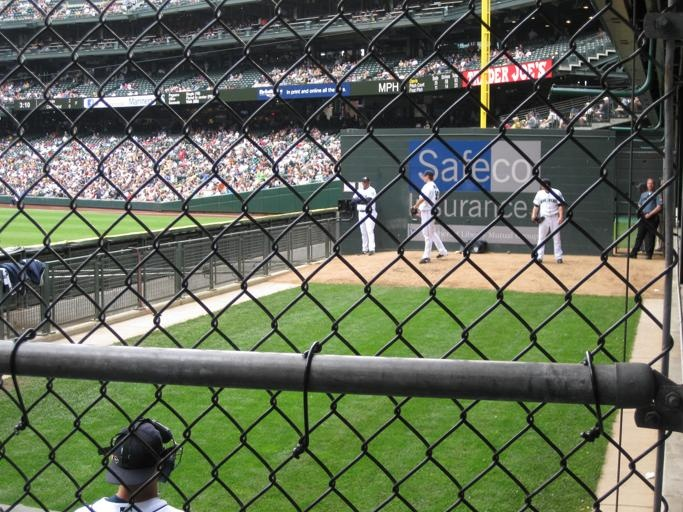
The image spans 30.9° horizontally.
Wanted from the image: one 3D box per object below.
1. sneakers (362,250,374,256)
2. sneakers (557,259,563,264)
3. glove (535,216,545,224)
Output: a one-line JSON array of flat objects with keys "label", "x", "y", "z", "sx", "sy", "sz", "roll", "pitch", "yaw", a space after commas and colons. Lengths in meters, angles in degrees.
[{"label": "sneakers", "x": 0.607, "y": -0.090, "z": 28.284, "sx": 0.178, "sy": 0.083, "sz": 0.250, "roll": 4, "pitch": 4, "yaw": -16}, {"label": "sneakers", "x": 4.640, "y": 0.093, "z": 26.463, "sx": 0.122, "sy": 0.113, "sz": 0.098, "roll": 7, "pitch": 6, "yaw": 31}, {"label": "glove", "x": 4.097, "y": -0.758, "z": 25.658, "sx": 0.149, "sy": 0.052, "sz": 0.154, "roll": -44, "pitch": 18, "yaw": -14}]
